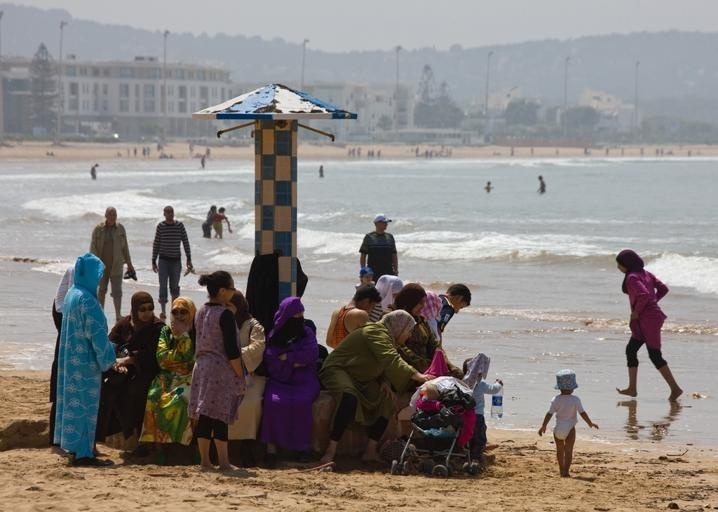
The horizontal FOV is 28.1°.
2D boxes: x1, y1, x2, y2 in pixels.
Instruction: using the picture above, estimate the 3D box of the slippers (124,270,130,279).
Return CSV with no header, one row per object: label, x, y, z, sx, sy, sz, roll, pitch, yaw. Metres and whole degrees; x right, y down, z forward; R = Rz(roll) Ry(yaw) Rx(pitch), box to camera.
slippers,-22.767,1.988,139.954,0.541,0.805,0.321,-5,-11,24
